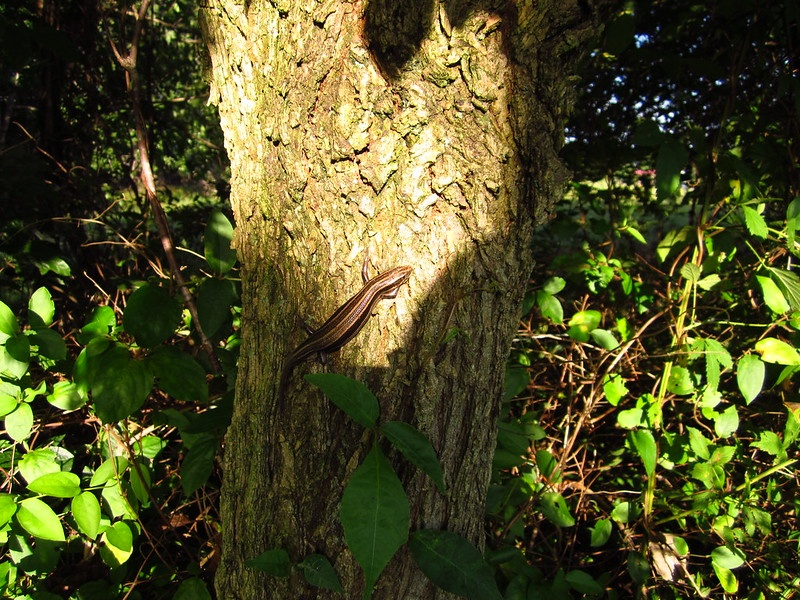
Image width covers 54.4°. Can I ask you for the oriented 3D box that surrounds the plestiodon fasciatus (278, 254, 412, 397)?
[{"bbox_3d":[-0.282,0.152,3.993,0.641,0.747,0.117,7,7,11],"label":"plestiodon fasciatus"}]
